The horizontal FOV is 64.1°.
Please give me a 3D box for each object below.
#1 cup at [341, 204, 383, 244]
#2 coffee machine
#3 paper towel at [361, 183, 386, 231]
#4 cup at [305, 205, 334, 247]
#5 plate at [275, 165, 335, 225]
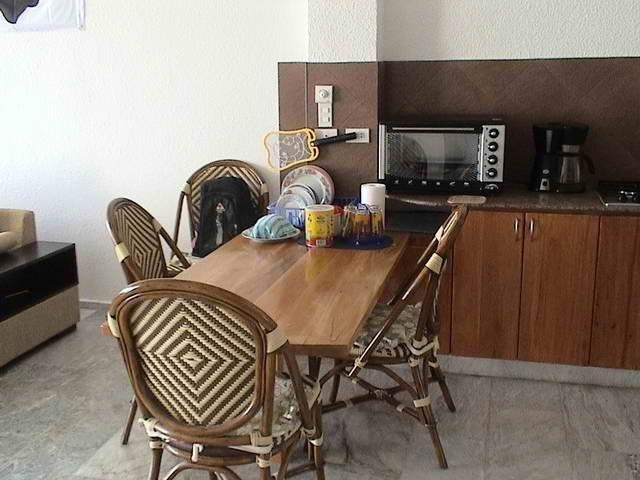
[{"bbox_3d":[0.215,-0.078,2.598,0.204,0.160,0.155,9,18,29],"label":"cup"},{"bbox_3d":[1.453,-0.516,3.064,0.345,0.404,0.259,8,29,33],"label":"coffee machine"},{"bbox_3d":[0.294,-0.219,2.876,0.148,0.168,0.268,4,-25,7],"label":"paper towel"},{"bbox_3d":[0.005,-0.081,2.590,0.164,0.207,0.176,0,13,0],"label":"cup"},{"bbox_3d":[-0.134,-0.319,3.195,0.378,0.408,0.089,-17,-4,43],"label":"plate"}]
